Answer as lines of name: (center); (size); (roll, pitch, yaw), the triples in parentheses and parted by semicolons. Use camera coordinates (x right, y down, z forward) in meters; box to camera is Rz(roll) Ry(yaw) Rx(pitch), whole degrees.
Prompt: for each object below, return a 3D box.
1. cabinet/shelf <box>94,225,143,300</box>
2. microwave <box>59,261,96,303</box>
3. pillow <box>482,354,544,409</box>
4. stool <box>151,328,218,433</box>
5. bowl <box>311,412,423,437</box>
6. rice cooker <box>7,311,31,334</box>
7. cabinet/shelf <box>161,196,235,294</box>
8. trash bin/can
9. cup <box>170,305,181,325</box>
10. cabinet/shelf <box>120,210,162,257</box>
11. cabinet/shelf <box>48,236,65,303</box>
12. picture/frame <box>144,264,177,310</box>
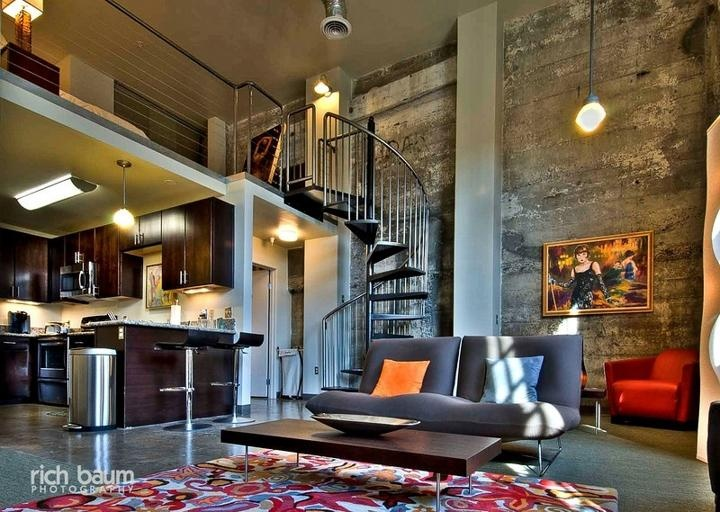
cabinet/shelf: (-4.175, 0.128, 10.012); (0.774, 1.262, 0.506); (-5, -8, 27)
microwave: (-4.732, 0.431, 9.894); (0.676, 0.498, 0.347); (-9, -9, 24)
pillow: (1.554, 1.251, 5.946); (0.629, 0.439, 0.240); (-4, -10, 15)
stool: (-2.233, 1.567, 7.435); (0.624, 1.202, 0.805); (4, -11, -29)
bowl: (0.060, 1.438, 5.002); (0.735, 0.125, 0.332); (-1, -15, 11)
rice cooker: (-5.791, 1.121, 9.968); (0.351, 0.364, 0.364); (4, -11, -31)
cabinet/shelf: (-2.409, -0.139, 8.838); (1.491, 1.417, 0.562); (-4, -7, 32)
trash bin/can: (-3.234, 1.611, 7.090); (0.559, 0.961, 0.261); (3, -11, -23)
cup: (-2.911, 0.913, 9.262); (0.172, 0.317, 0.415); (2, -10, -18)
cabinet/shelf: (-3.495, -0.385, 9.601); (0.820, 0.488, 0.416); (-6, -12, 11)
cabinet/shelf: (-5.418, 0.315, 10.399); (0.144, 1.255, 0.302); (-22, -34, 6)
picture/frame: (-3.237, 0.516, 9.568); (0.789, 0.754, 0.030); (-4, -4, 40)
